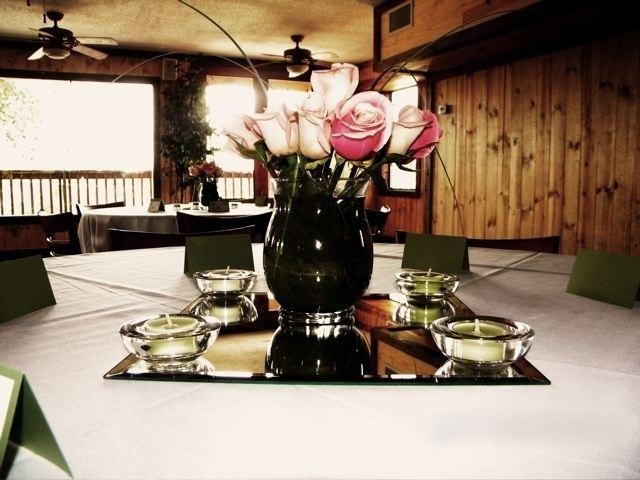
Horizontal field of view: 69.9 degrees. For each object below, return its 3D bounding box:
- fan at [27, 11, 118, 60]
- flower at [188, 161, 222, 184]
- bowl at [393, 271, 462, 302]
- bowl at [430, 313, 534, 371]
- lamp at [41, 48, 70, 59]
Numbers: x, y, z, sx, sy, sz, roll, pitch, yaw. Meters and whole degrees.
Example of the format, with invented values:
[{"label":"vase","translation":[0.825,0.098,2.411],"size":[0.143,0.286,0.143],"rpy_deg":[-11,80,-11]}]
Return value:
[{"label":"fan","translation":[-2.856,-2.371,5.246],"size":[0.892,0.342,0.782],"rpy_deg":[-2,-7,-41]},{"label":"flower","translation":[-1.026,-0.608,4.132],"size":[0.274,0.188,0.267],"rpy_deg":[1,2,13]},{"label":"bowl","translation":[0.264,0.117,1.145],"size":[0.148,0.062,0.150],"rpy_deg":[0,5,0]},{"label":"bowl","translation":[0.265,0.172,0.765],"size":[0.154,0.058,0.153],"rpy_deg":[-1,5,0]},{"label":"lamp","translation":[-2.635,-1.876,4.586],"size":[0.275,0.101,0.215],"rpy_deg":[9,13,44]}]
